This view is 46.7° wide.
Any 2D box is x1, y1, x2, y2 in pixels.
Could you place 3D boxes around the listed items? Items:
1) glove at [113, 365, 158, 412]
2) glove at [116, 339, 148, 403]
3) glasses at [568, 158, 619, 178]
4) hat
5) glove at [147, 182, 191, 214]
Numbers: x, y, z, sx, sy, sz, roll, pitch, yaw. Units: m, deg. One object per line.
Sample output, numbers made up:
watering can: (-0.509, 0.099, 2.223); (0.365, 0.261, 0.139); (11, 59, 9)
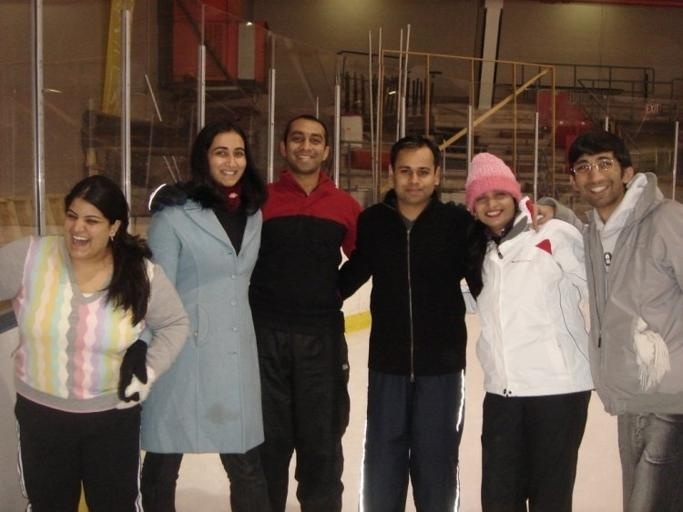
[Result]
glove: (-0.913, 0.598, 3.554); (0.193, 0.148, 0.055); (-43, 41, -15)
glove: (-0.910, 0.514, 3.543); (0.064, 0.247, 0.134); (-12, -36, 32)
glasses: (1.280, -0.452, 4.037); (0.211, 0.088, 0.080); (2, 4, 18)
hat: (0.796, -0.381, 4.267); (0.268, 0.294, 0.302); (-17, -28, 12)
glove: (-0.860, -0.292, 3.910); (0.176, 0.071, 0.144); (-16, 22, 5)
